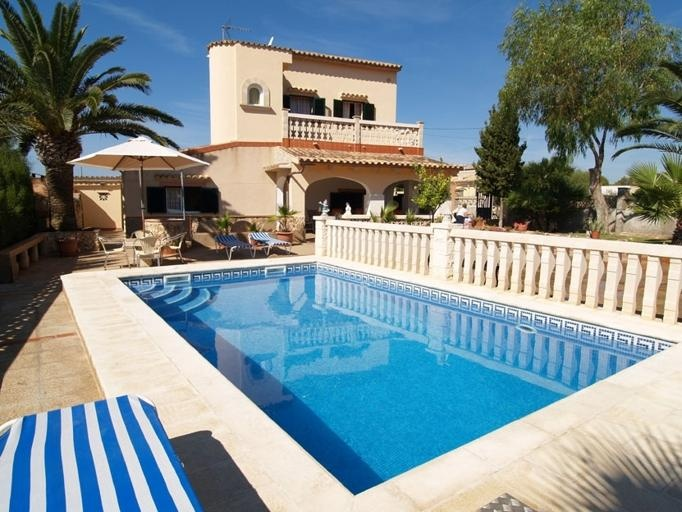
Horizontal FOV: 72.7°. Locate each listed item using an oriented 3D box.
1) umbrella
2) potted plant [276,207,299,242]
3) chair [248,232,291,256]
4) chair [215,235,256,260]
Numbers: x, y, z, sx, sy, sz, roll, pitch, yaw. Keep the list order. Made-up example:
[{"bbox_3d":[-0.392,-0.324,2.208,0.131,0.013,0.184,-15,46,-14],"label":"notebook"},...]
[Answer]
[{"bbox_3d":[-5.981,-1.993,13.771,2.777,3.032,5.367,-7,15,-27],"label":"umbrella"},{"bbox_3d":[-1.992,-1.100,16.513,0.798,1.363,0.974,7,8,15],"label":"potted plant"},{"bbox_3d":[-2.449,-0.466,14.944,0.751,0.500,1.455,-8,17,-30],"label":"chair"},{"bbox_3d":[-3.403,-0.197,14.080,0.807,0.524,1.501,-6,21,-35],"label":"chair"}]
